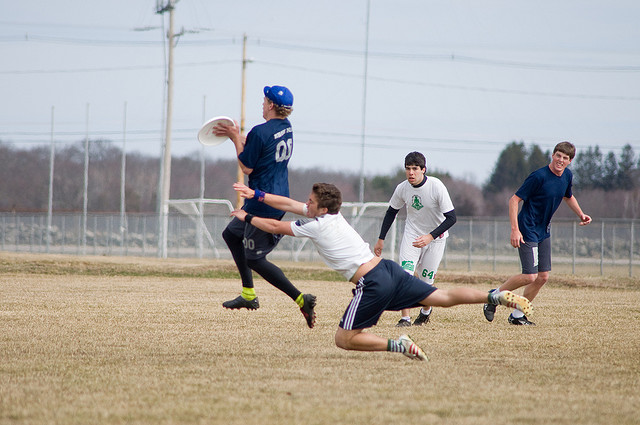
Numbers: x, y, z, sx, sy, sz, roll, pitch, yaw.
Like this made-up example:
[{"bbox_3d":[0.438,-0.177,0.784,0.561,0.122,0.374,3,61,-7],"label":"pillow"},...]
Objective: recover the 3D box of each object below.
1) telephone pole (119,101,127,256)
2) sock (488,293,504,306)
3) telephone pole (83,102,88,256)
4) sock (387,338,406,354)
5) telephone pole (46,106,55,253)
[{"bbox_3d":[-6.112,-0.665,38.395,0.156,3.834,0.526,1,1,-9],"label":"telephone pole"},{"bbox_3d":[3.450,1.667,24.514,0.308,0.226,0.140,1,1,7],"label":"sock"},{"bbox_3d":[-7.231,-0.624,38.304,0.121,3.689,0.419,1,1,-11],"label":"telephone pole"},{"bbox_3d":[1.482,2.581,24.308,0.355,0.264,0.050,1,1,-1],"label":"sock"},{"bbox_3d":[-8.290,-0.634,38.153,0.164,3.676,0.955,1,1,-15],"label":"telephone pole"}]
